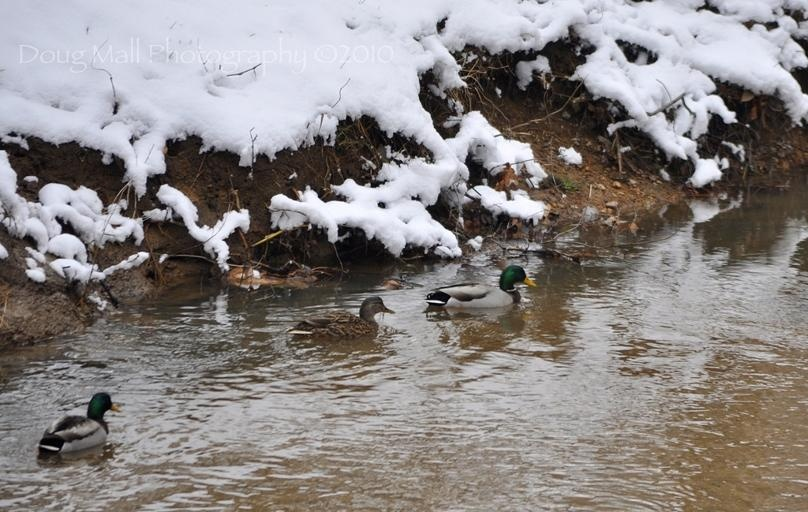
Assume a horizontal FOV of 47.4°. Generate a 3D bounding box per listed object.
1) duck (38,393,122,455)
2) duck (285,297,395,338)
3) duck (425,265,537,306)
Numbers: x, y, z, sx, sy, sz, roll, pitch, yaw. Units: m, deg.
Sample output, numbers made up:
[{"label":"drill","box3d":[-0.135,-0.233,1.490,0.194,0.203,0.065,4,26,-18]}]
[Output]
[{"label":"duck","box3d":[-4.432,2.319,12.606,1.023,0.693,0.477,-7,10,-42]},{"label":"duck","box3d":[-1.069,0.997,15.112,1.665,0.679,0.647,-2,10,-19]},{"label":"duck","box3d":[1.277,0.546,16.348,2.013,0.699,0.687,-1,7,-11]}]
